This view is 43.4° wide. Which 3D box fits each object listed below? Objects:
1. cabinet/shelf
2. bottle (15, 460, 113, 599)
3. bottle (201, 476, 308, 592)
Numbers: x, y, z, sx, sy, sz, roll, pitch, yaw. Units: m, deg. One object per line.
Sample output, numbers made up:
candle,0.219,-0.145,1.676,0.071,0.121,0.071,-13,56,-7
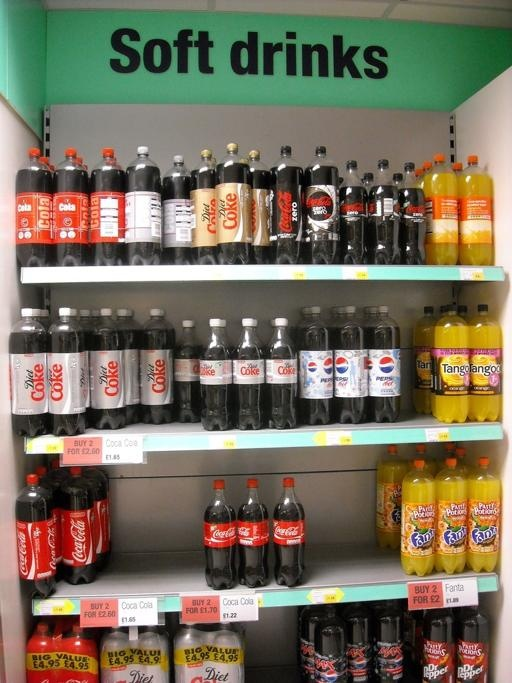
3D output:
cabinet/shelf,-0.009,0.369,2.350,1.443,0.995,0.466,-1,0,-2
bottle,-0.691,0.648,2.313,0.260,0.427,0.334,-4,4,-2
bottle,-0.022,0.699,2.311,0.384,0.386,0.118,-1,-3,-8
